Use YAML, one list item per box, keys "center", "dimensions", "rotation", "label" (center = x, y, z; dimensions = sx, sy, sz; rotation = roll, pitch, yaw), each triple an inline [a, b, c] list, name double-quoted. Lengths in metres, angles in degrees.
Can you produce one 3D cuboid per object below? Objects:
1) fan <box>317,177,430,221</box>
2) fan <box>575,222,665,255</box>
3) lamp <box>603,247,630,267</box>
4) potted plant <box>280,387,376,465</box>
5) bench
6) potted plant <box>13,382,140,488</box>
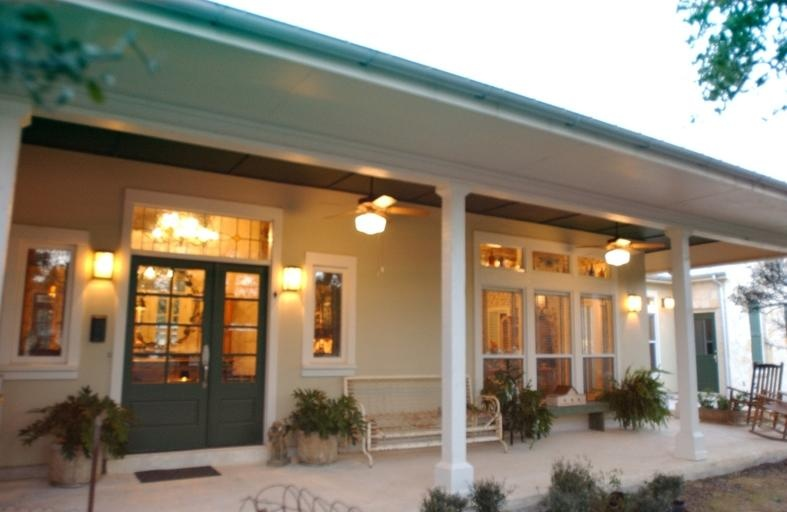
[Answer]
- center: [-0.032, -0.618, 7.413]
  dimensions: [0.915, 0.354, 0.901]
  rotation: [16, -26, -39]
  label: "fan"
- center: [4.258, -0.387, 9.605]
  dimensions: [0.945, 0.363, 1.000]
  rotation: [13, -13, -26]
  label: "fan"
- center: [3.887, -0.005, 9.602]
  dimensions: [0.378, 0.207, 0.370]
  rotation: [9, -24, -15]
  label: "lamp"
- center: [-0.908, 2.257, 7.459]
  dimensions: [0.977, 0.826, 1.075]
  rotation: [-9, -16, 42]
  label: "potted plant"
- center: [0.539, 2.414, 7.952]
  dimensions: [2.010, 0.916, 0.664]
  rotation: [-1, -28, -18]
  label: "bench"
- center: [-3.639, 2.075, 6.337]
  dimensions: [1.105, 1.085, 0.720]
  rotation: [1, -4, 6]
  label: "potted plant"
